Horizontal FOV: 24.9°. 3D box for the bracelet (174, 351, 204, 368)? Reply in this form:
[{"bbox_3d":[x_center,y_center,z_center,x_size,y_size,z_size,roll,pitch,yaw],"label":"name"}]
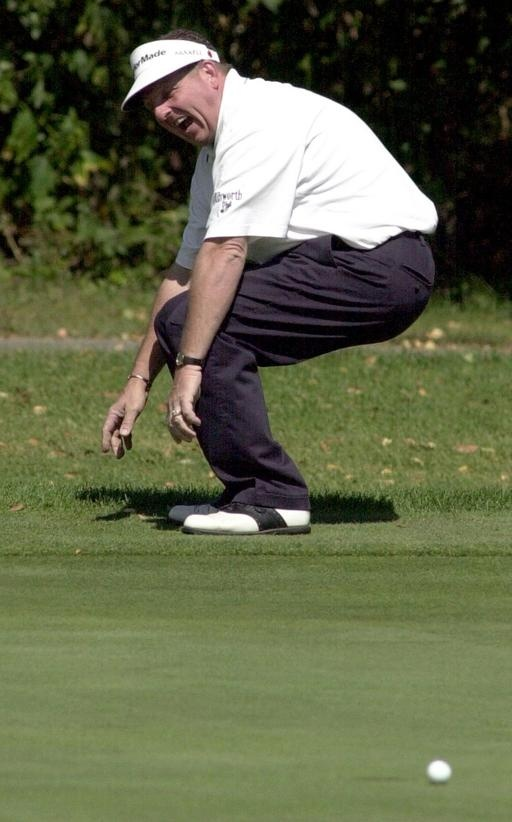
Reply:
[{"bbox_3d":[-0.171,-0.125,2.934,0.063,0.033,0.060,6,3,17],"label":"bracelet"}]

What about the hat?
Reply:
[{"bbox_3d":[-0.225,-0.885,3.034,0.236,0.093,0.166,-23,-1,-32],"label":"hat"}]

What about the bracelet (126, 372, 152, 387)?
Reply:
[{"bbox_3d":[-0.341,-0.085,3.324,0.051,0.014,0.044,23,-10,32],"label":"bracelet"}]

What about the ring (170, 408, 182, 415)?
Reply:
[{"bbox_3d":[-0.205,0.003,2.946,0.012,0.012,0.030,-9,6,-27],"label":"ring"}]

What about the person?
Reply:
[{"bbox_3d":[0.011,-0.325,3.843,1.394,1.724,1.065,1,-2,-6],"label":"person"}]

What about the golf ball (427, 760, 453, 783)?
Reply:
[{"bbox_3d":[0.226,0.441,1.419,0.035,0.020,0.034,2,8,0],"label":"golf ball"}]
